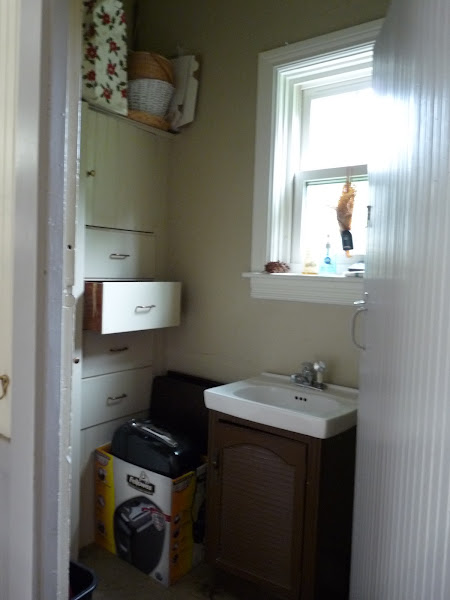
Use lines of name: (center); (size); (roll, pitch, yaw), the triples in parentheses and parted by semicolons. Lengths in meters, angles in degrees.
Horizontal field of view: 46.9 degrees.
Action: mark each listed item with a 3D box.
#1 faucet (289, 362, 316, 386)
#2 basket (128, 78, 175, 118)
faucet: (0.318, 0.289, 2.097); (0.060, 0.120, 0.107); (9, 12, 41)
basket: (-0.322, -0.902, 2.335); (0.167, 0.116, 0.152); (11, 11, 36)
